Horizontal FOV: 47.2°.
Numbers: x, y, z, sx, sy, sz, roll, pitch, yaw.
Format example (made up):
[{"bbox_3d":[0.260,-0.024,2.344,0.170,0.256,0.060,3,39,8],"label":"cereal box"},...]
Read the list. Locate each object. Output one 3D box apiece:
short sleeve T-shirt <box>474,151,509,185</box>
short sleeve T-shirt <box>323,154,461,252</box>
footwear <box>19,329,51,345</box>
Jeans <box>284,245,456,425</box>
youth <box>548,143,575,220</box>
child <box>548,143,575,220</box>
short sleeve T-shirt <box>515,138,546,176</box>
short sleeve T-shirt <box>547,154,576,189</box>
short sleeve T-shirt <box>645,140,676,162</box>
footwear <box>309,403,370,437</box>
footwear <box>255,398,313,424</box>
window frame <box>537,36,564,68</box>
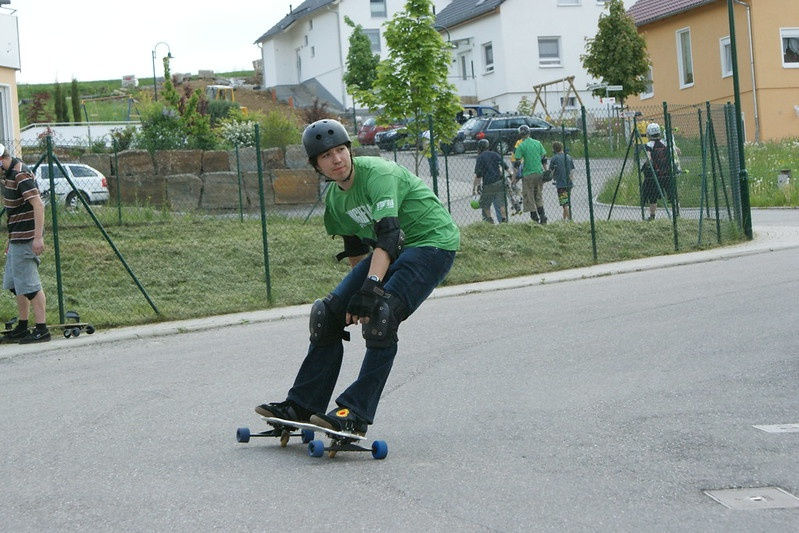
[{"bbox_3d":[1.902,-2.088,19.514,0.604,0.534,0.240,-11,16,-16],"label":"short sleeve T-shirt"},{"bbox_3d":[-0.085,-0.509,8.360,0.934,0.618,0.949,3,-9,-32],"label":"short sleeve T-shirt"},{"bbox_3d":[-4.926,0.975,12.452,0.431,0.209,0.162,1,0,-1],"label":"footwear"},{"bbox_3d":[-0.183,0.802,8.450,1.046,1.913,0.625,16,-20,34],"label":"Jeans"},{"bbox_3d":[3.728,-1.979,21.189,0.680,1.773,0.697,4,14,34],"label":"youth"},{"bbox_3d":[3.729,-1.972,21.158,0.574,1.773,0.823,0,12,15],"label":"child"},{"bbox_3d":[2.903,-2.427,20.542,0.809,0.960,0.416,0,11,2],"label":"short sleeve T-shirt"},{"bbox_3d":[3.765,-2.209,21.343,0.881,1.062,0.413,1,29,15],"label":"short sleeve T-shirt"},{"bbox_3d":[5.339,-2.361,18.794,0.614,0.634,0.342,-5,15,14],"label":"short sleeve T-shirt"},{"bbox_3d":[-0.524,1.365,7.994,0.389,0.162,0.263,17,-14,-13],"label":"footwear"},{"bbox_3d":[-1.037,1.307,8.197,0.541,0.227,0.205,14,-15,-1],"label":"footwear"},{"bbox_3d":[7.833,-11.246,48.086,1.640,1.776,0.540,0,-3,-10],"label":"window frame"}]
